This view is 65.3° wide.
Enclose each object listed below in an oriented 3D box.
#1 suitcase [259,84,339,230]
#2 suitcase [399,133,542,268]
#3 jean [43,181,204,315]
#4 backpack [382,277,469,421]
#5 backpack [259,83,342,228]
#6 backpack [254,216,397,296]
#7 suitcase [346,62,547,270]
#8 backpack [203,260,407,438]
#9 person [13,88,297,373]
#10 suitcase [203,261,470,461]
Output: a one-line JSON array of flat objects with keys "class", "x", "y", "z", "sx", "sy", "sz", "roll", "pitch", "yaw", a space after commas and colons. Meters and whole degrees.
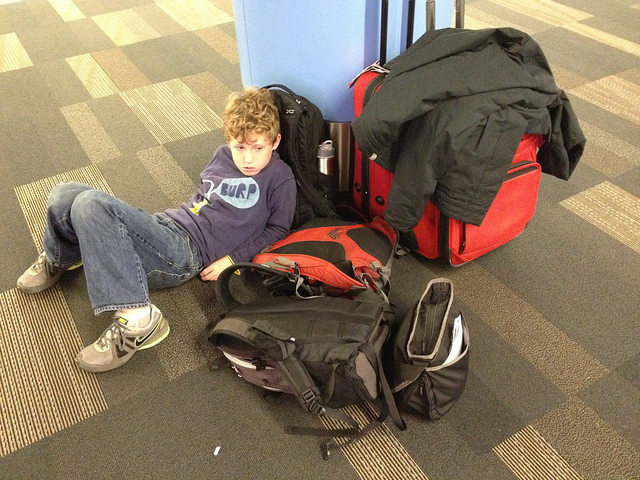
[{"class": "suitcase", "x": -0.104, "y": -0.373, "z": 2.182, "sx": 0.301, "sy": 0.527, "sz": 0.378, "roll": 10, "pitch": 44, "yaw": 19}, {"class": "suitcase", "x": 0.584, "y": -0.167, "z": 1.979, "sx": 0.349, "sy": 0.343, "sz": 0.252, "roll": -35, "pitch": 53, "yaw": -18}, {"class": "jean", "x": -0.861, "y": -0.003, "z": 2.143, "sx": 0.705, "sy": 0.419, "sz": 0.592, "roll": 13, "pitch": 12, "yaw": 27}, {"class": "backpack", "x": 0.415, "y": 0.397, "z": 1.895, "sx": 0.297, "sy": 0.288, "sz": 0.508, "roll": 6, "pitch": 35, "yaw": 25}, {"class": "backpack", "x": -0.099, "y": -0.380, "z": 2.186, "sx": 0.301, "sy": 0.528, "sz": 0.393, "roll": 5, "pitch": 44, "yaw": 16}, {"class": "backpack", "x": 0.042, "y": 0.044, "z": 2.198, "sx": 0.576, "sy": 0.165, "sz": 0.598, "roll": 4, "pitch": 26, "yaw": 9}, {"class": "suitcase", "x": 0.533, "y": -0.382, "z": 2.228, "sx": 0.526, "sy": 0.764, "sz": 0.759, "roll": -30, "pitch": 51, "yaw": -18}, {"class": "backpack", "x": -0.043, "y": 0.335, "z": 1.920, "sx": 0.774, "sy": 0.297, "sz": 0.785, "roll": 9, "pitch": 38, "yaw": 31}, {"class": "person", "x": -0.643, "y": -0.153, "z": 2.114, "sx": 1.066, "sy": 0.841, "sz": 0.801, "roll": -13, "pitch": 27, "yaw": -38}, {"class": "suitcase", "x": 0.054, "y": 0.365, "z": 1.799, "sx": 0.763, "sy": 0.306, "sz": 0.772, "roll": 14, "pitch": 41, "yaw": 17}]
